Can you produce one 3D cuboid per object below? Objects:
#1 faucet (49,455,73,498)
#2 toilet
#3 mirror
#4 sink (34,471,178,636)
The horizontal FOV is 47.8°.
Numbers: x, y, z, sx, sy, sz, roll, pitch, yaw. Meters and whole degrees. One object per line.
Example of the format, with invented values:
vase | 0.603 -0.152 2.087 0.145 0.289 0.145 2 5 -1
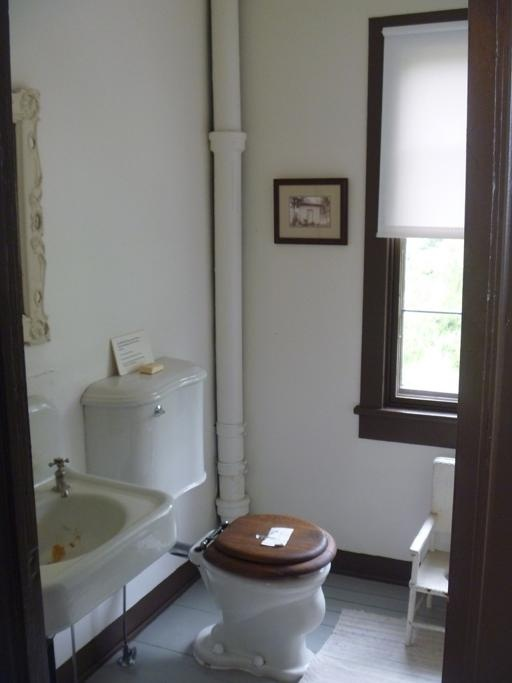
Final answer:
faucet | -0.508 0.356 1.502 0.051 0.128 0.074 -6 19 -22
toilet | -0.099 0.489 2.125 0.826 1.268 0.643 5 12 22
mirror | -0.541 -0.288 1.398 0.057 0.607 0.141 -2 5 -20
sink | -0.429 0.470 1.352 0.350 0.181 0.432 2 7 28
